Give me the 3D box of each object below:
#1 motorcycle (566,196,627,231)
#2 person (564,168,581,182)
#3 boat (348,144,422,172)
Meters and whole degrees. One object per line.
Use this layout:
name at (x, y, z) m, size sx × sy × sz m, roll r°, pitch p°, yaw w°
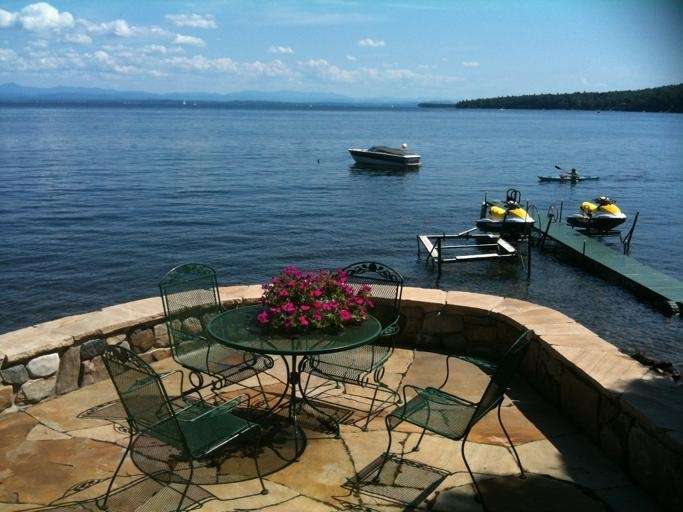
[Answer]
motorcycle at (9.946, -1.640, 21.032) m, size 1.460 × 0.847 × 2.429 m, roll -1°, pitch 1°, yaw -7°
person at (15.893, -5.613, 36.129) m, size 0.921 × 0.970 × 2.184 m, roll 10°, pitch 20°, yaw 20°
boat at (3.662, -8.170, 43.681) m, size 5.692 × 1.285 × 2.931 m, roll 7°, pitch 13°, yaw 25°
